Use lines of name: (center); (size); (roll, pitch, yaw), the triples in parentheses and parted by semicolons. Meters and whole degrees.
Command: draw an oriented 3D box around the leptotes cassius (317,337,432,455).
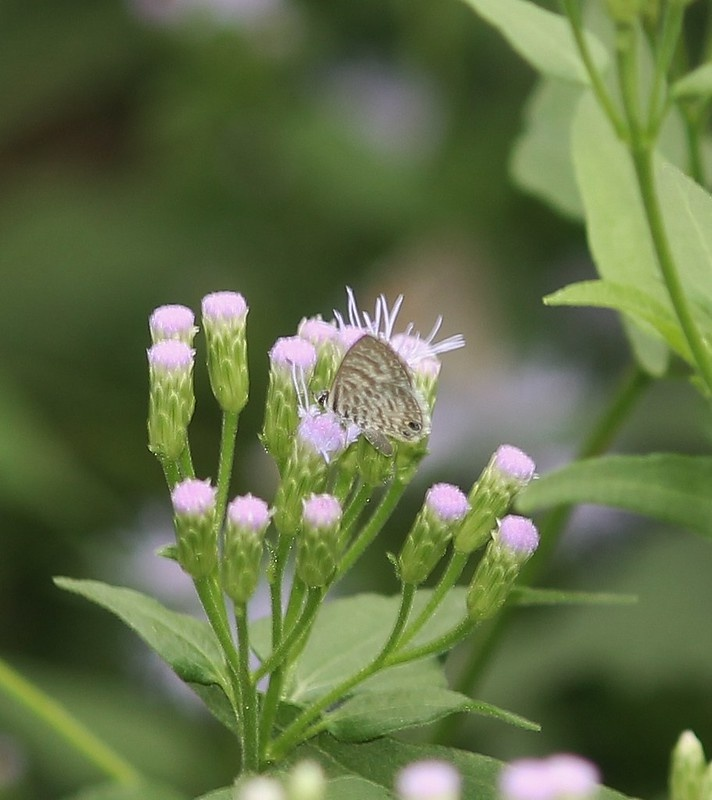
leptotes cassius: (0.028, -0.012, 1.568); (0.148, 0.152, 0.166); (-2, 14, -3)

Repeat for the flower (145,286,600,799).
flower: (-0.013, 0.170, 1.580); (0.557, 0.695, 0.559); (-4, 0, 0)
